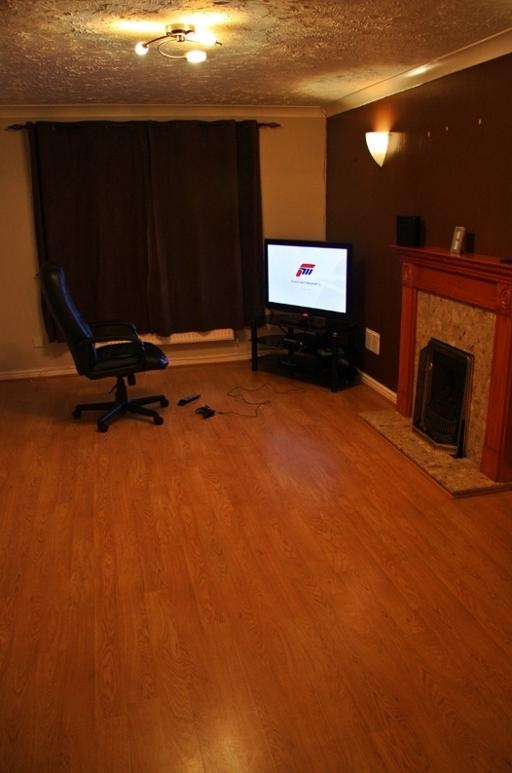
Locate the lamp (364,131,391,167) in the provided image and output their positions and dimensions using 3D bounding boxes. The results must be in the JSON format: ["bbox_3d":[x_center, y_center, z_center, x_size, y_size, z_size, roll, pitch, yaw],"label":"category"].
[{"bbox_3d":[0.885,-1.749,3.819,0.156,0.228,0.323,0,12,6],"label":"lamp"}]

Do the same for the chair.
[{"bbox_3d":[-1.041,-0.500,4.153,1.014,1.659,0.996,-4,20,-14],"label":"chair"}]

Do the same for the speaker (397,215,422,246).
[{"bbox_3d":[0.988,-1.002,3.307,0.067,0.168,0.146,-9,23,-27],"label":"speaker"}]

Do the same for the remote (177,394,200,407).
[{"bbox_3d":[-0.543,0.106,4.209,0.113,0.052,0.277,6,15,34],"label":"remote"}]
